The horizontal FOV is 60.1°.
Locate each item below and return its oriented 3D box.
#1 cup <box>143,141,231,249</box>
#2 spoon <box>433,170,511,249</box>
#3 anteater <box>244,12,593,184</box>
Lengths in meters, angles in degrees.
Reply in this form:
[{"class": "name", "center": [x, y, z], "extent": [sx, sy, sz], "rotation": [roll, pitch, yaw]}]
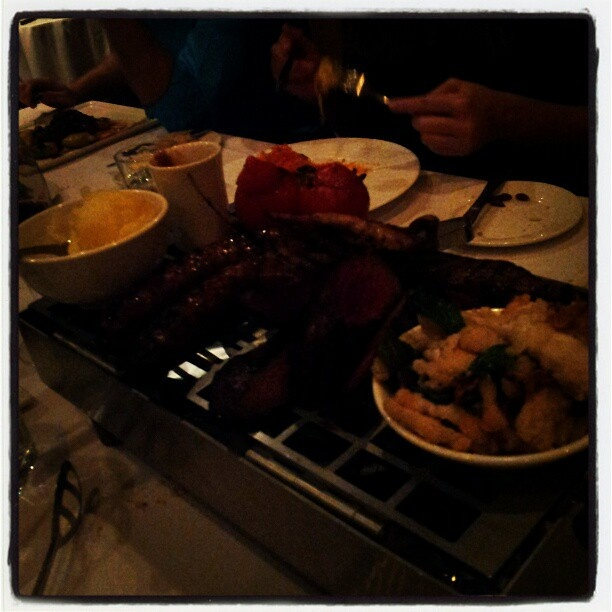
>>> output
[{"class": "cup", "center": [-0.089, -0.095, 0.465], "extent": [0.070, 0.090, 0.068], "rotation": [0, 27, 0]}, {"class": "spoon", "center": [0.149, -0.078, 0.480], "extent": [0.034, 0.024, 0.096], "rotation": [22, 61, 45]}, {"class": "anteater", "center": [0.115, -0.204, 0.502], "extent": [0.282, 0.151, 0.211], "rotation": [9, 39, 16]}]
